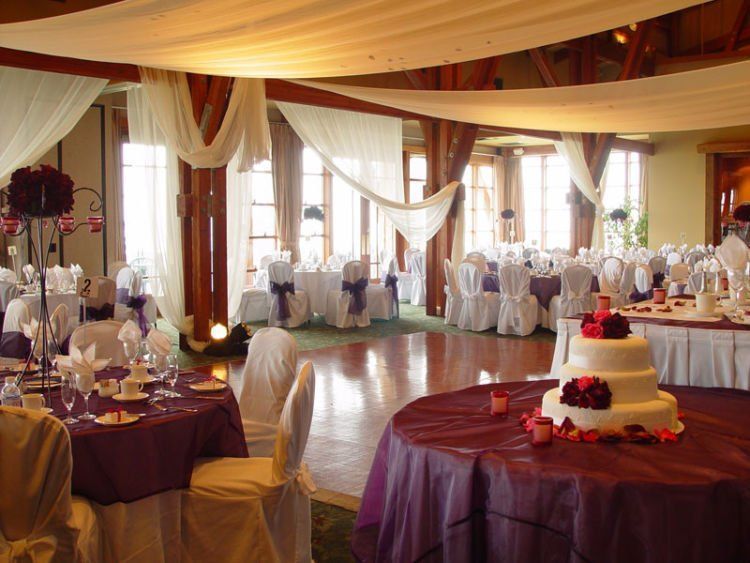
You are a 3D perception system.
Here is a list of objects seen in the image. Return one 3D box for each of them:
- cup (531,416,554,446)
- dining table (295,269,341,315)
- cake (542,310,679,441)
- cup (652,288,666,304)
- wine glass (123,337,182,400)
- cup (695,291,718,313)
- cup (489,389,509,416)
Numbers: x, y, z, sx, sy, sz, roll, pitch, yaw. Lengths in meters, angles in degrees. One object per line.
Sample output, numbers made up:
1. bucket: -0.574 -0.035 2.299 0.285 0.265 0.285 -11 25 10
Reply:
1. cup: 0.729 0.654 2.441 0.101 0.129 0.108 -1 0 0
2. dining table: -1.011 0.147 9.908 0.695 0.585 0.737 1 4 12
3. cake: 1.111 0.386 2.672 0.520 0.489 0.552 -1 2 17
4. cup: 2.693 0.133 5.295 0.139 0.171 0.145 -1 1 0
5. wine glass: -1.274 0.461 3.124 0.200 0.259 0.655 -2 4 -34
6. cup: 2.627 0.165 4.406 0.123 0.144 0.171 -3 -3 6
7. cup: 0.642 0.636 2.942 0.104 0.130 0.107 -1 -2 0
